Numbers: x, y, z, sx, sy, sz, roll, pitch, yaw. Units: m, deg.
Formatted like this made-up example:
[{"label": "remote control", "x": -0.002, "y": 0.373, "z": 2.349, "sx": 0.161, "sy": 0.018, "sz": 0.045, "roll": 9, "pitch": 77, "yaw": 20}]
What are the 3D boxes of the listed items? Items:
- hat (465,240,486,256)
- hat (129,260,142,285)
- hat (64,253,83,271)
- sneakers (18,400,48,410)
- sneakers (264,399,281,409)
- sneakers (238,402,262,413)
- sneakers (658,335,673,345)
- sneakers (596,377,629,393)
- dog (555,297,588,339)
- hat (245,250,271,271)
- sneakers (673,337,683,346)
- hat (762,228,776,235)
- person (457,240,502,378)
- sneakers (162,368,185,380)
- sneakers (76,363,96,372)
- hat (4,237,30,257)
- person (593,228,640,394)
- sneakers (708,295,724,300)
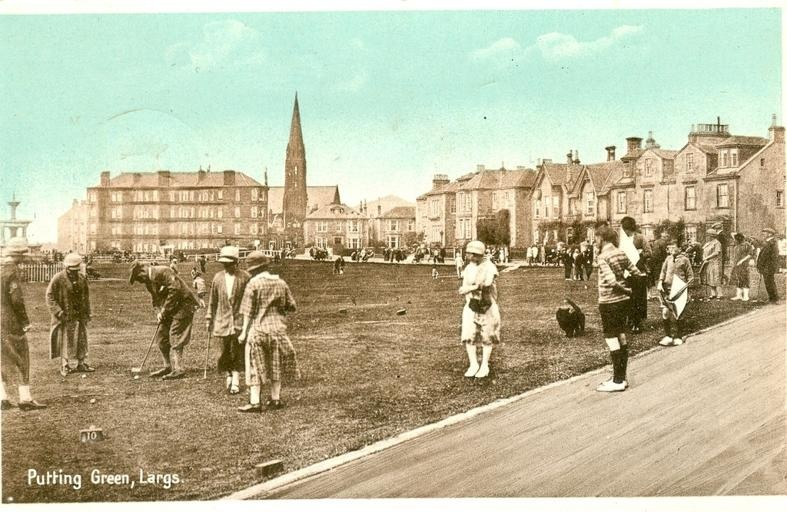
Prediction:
[{"label": "hat", "x": 1.744, "y": -0.166, "z": 16.847, "sx": 0.365, "sy": 0.298, "sz": 0.427, "roll": -3, "pitch": 0, "yaw": 3}, {"label": "hat", "x": -5.472, "y": 0.326, "z": 17.067, "sx": 0.261, "sy": 0.416, "sz": 0.414, "roll": -3, "pitch": 0, "yaw": -17}, {"label": "hat", "x": -6.913, "y": 0.111, "z": 17.261, "sx": 0.314, "sy": 0.173, "sz": 0.420, "roll": -3, "pitch": 12, "yaw": -30}, {"label": "sneakers", "x": -7.467, "y": 3.077, "z": 16.556, "sx": 0.488, "sy": 0.227, "sz": 0.232, "roll": 0, "pitch": 4, "yaw": -12}, {"label": "sneakers", "x": -2.437, "y": 2.999, "z": 16.188, "sx": 0.222, "sy": 0.185, "sz": 0.434, "roll": 1, "pitch": 4, "yaw": -9}, {"label": "sneakers", "x": -2.885, "y": 3.051, "z": 16.064, "sx": 0.438, "sy": 0.195, "sz": 0.217, "roll": 2, "pitch": -5, "yaw": 7}, {"label": "sneakers", "x": 6.263, "y": 1.948, "z": 18.426, "sx": 0.157, "sy": 0.193, "sz": 0.288, "roll": 2, "pitch": 0, "yaw": -19}, {"label": "sneakers", "x": 4.599, "y": 2.698, "z": 16.764, "sx": 0.643, "sy": 0.279, "sz": 0.296, "roll": 2, "pitch": -2, "yaw": -1}, {"label": "dog", "x": 4.305, "y": 1.511, "z": 19.343, "sx": 0.654, "sy": 0.927, "sz": 0.432, "roll": -3, "pitch": 0, "yaw": 8}, {"label": "hat", "x": -2.638, "y": 0.082, "z": 15.583, "sx": 0.393, "sy": 0.197, "sz": 0.368, "roll": -5, "pitch": 18, "yaw": 32}, {"label": "sneakers", "x": 6.556, "y": 1.961, "z": 18.366, "sx": 0.215, "sy": 0.226, "sz": 0.132, "roll": 3, "pitch": 4, "yaw": 28}, {"label": "hat", "x": 9.618, "y": -0.637, "z": 20.460, "sx": 0.266, "sy": 0.186, "sz": 0.224, "roll": -3, "pitch": 0, "yaw": 25}, {"label": "person", "x": 1.880, "y": 1.170, "z": 17.379, "sx": 0.839, "sy": 2.872, "sz": 1.514, "roll": -3, "pitch": 0, "yaw": 7}, {"label": "sneakers", "x": -4.785, "y": 2.550, "z": 17.297, "sx": 0.533, "sy": 0.245, "sz": 0.197, "roll": 1, "pitch": 2, "yaw": -4}, {"label": "sneakers", "x": -6.773, "y": 2.452, "z": 17.592, "sx": 0.336, "sy": 0.149, "sz": 0.156, "roll": 2, "pitch": 3, "yaw": -8}, {"label": "hat", "x": -7.776, "y": -0.175, "z": 16.390, "sx": 0.438, "sy": 0.245, "sz": 0.469, "roll": -1, "pitch": 3, "yaw": 9}, {"label": "person", "x": 4.602, "y": 1.139, "z": 16.378, "sx": 0.824, "sy": 3.453, "sz": 1.086, "roll": -3, "pitch": 0, "yaw": 17}, {"label": "sneakers", "x": 8.443, "y": 1.082, "z": 20.917, "sx": 0.343, "sy": 0.151, "sz": 0.129, "roll": -3, "pitch": 0, "yaw": 29}]
